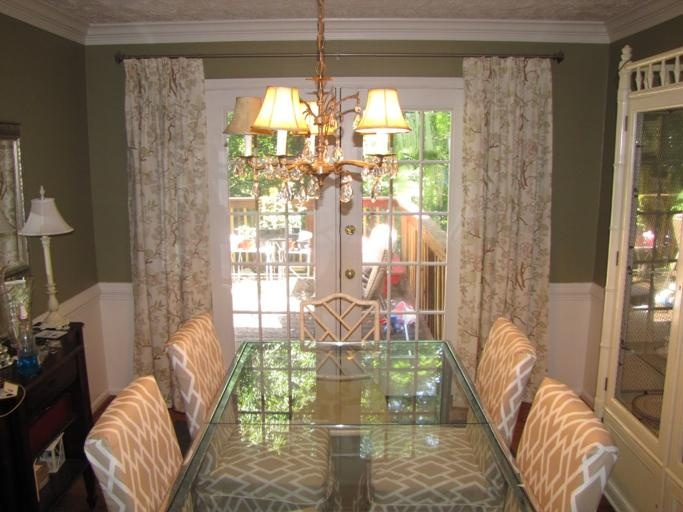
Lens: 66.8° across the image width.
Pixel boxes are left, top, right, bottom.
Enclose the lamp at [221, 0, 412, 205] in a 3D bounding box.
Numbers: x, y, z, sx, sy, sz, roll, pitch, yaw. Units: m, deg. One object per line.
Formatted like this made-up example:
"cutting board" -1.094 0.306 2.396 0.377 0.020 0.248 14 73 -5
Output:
"lamp" -0.160 -1.099 3.391 0.947 1.396 0.948 11 22 30
